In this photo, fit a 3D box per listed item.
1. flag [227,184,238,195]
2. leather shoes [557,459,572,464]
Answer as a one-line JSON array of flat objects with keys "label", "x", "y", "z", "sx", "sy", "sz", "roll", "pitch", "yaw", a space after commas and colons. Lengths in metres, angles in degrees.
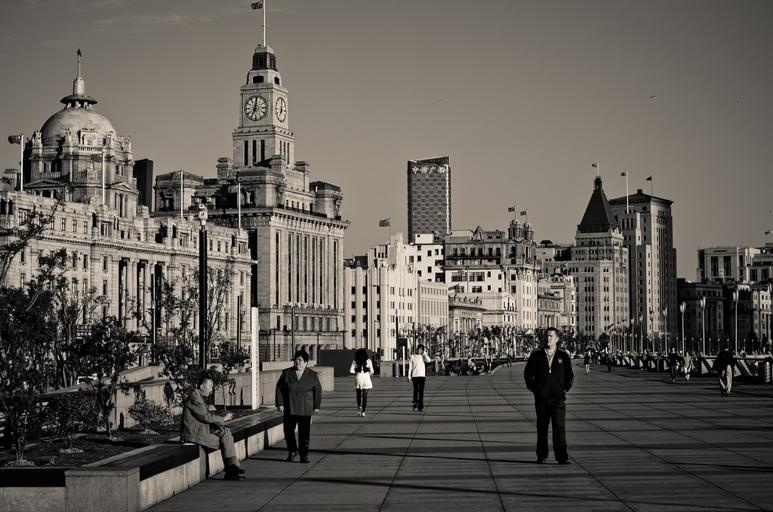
[{"label": "flag", "x": -18.389, "y": -8.323, "z": 178.856, "sx": 0.606, "sy": 1.250, "sz": 4.522, "roll": 0, "pitch": -6, "yaw": -15}, {"label": "leather shoes", "x": 4.933, "y": 5.731, "z": 41.870, "sx": 0.505, "sy": 0.148, "sz": 0.249, "roll": 2, "pitch": -6, "yaw": -31}]
